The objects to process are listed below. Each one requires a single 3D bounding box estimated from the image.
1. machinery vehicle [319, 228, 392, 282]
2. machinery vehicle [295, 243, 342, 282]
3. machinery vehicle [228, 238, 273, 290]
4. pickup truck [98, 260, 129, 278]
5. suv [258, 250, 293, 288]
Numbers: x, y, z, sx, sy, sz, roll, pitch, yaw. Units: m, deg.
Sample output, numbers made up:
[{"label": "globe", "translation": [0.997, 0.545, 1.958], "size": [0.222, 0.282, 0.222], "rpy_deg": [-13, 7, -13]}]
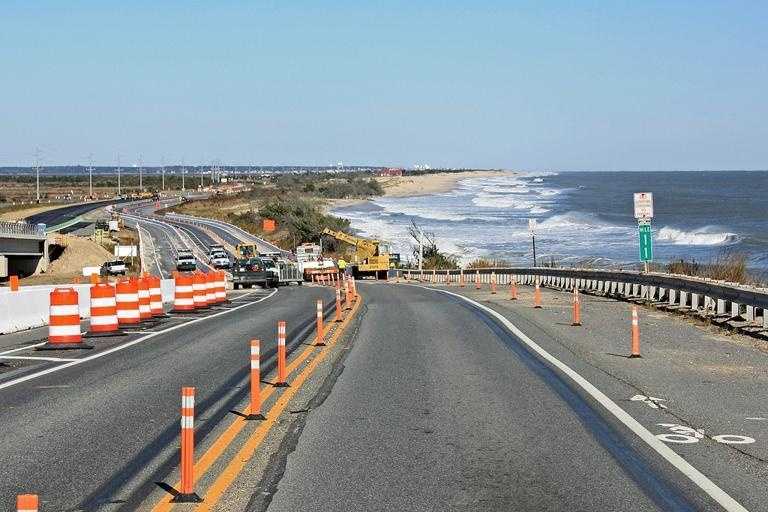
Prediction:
[{"label": "machinery vehicle", "translation": [-2.800, -0.169, 62.444], "size": [6.675, 3.726, 4.052], "rpy_deg": [6, 3, -3]}, {"label": "machinery vehicle", "translation": [-6.665, 0.421, 64.164], "size": [3.114, 2.601, 5.271], "rpy_deg": [-3, 14, -26]}, {"label": "machinery vehicle", "translation": [-10.288, 0.198, 50.761], "size": [2.495, 2.218, 4.646], "rpy_deg": [-4, 26, -17]}, {"label": "pickup truck", "translation": [-25.857, 1.157, 64.983], "size": [1.642, 1.085, 3.067], "rpy_deg": [-2, 7, -23]}, {"label": "suv", "translation": [-8.498, 1.024, 54.022], "size": [2.711, 2.132, 4.488], "rpy_deg": [-1, -2, -5]}]
